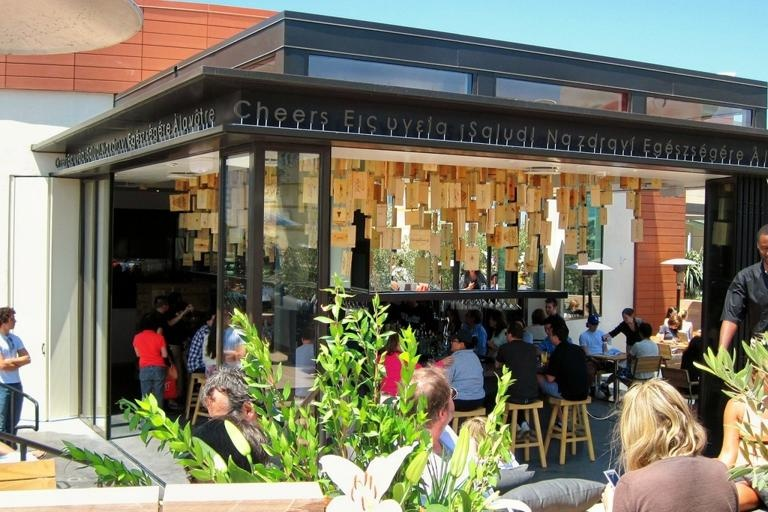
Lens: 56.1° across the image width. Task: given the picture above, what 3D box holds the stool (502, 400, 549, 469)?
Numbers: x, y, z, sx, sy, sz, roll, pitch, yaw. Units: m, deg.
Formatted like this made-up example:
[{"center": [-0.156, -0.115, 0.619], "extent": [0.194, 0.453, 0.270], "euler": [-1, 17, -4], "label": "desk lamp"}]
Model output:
[{"center": [1.857, 2.400, 9.762], "extent": [0.618, 0.836, 0.557], "euler": [-1, 0, -22], "label": "stool"}]

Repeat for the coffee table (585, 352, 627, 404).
[{"center": [3.988, 2.209, 12.980], "extent": [0.839, 0.806, 0.835], "euler": [-2, 1, -10], "label": "coffee table"}]

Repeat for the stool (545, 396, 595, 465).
[{"center": [2.686, 2.466, 10.281], "extent": [0.633, 0.690, 0.641], "euler": [7, -7, 3], "label": "stool"}]

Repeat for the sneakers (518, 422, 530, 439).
[{"center": [1.920, 2.394, 9.897], "extent": [0.121, 0.142, 0.333], "euler": [-3, -23, -1], "label": "sneakers"}]
